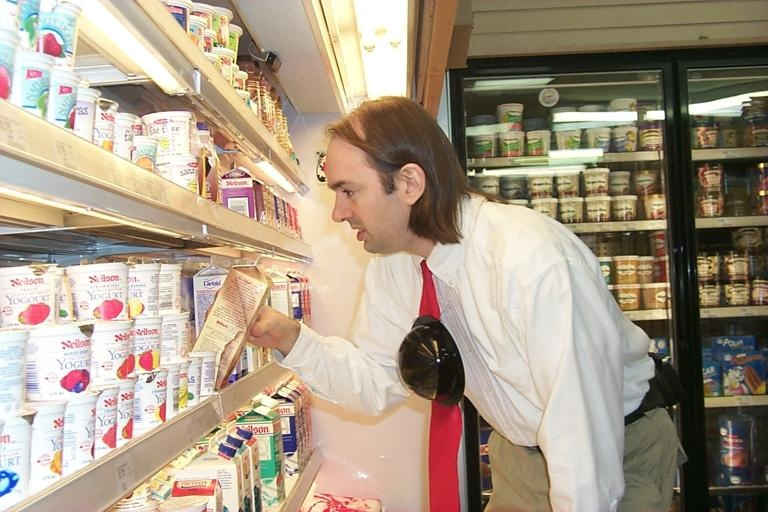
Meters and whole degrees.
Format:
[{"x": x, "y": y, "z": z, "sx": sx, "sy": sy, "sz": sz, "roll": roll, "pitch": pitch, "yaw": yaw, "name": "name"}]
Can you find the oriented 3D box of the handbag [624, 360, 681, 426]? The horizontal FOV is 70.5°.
[{"x": 1.021, "y": 0.464, "z": 2.004, "sx": 0.080, "sy": 0.225, "sz": 0.169, "roll": -41, "pitch": -7, "yaw": 31, "name": "handbag"}]
